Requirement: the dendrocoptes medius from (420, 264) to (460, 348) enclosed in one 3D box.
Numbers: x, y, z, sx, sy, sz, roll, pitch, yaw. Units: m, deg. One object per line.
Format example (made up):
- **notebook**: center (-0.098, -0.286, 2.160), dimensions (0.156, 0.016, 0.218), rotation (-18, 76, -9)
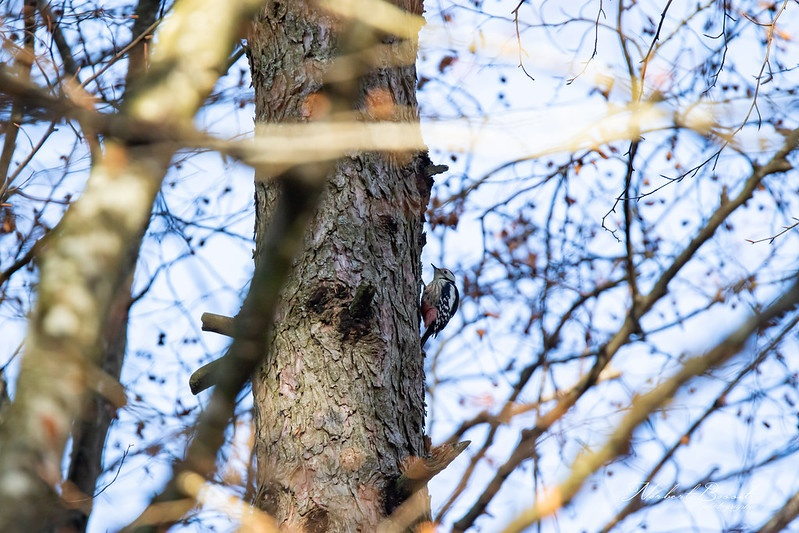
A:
- **dendrocoptes medius**: center (0.373, 0.377, 14.399), dimensions (0.294, 0.797, 0.221), rotation (22, -57, 7)
